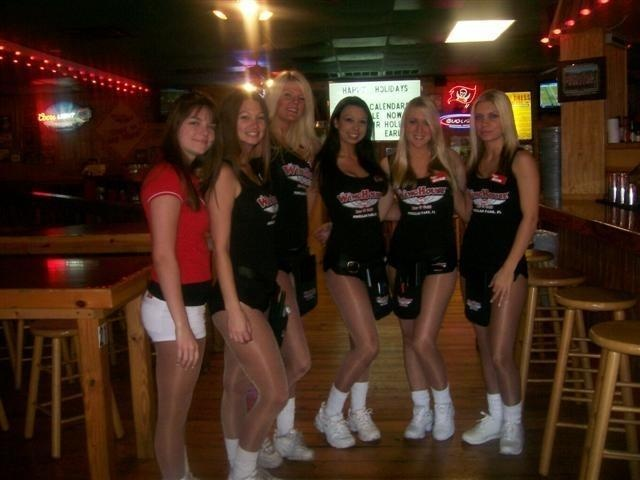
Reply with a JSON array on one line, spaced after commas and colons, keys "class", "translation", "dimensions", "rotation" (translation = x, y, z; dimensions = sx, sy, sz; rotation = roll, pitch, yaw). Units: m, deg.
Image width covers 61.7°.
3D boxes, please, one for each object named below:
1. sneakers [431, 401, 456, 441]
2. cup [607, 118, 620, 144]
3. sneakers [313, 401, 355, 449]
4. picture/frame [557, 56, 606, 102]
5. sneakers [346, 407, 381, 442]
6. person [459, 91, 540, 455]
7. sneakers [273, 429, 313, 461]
[{"class": "sneakers", "translation": [0.779, 1.139, 3.379], "dimensions": [0.102, 0.169, 0.281], "rotation": [-2, -3, 12]}, {"class": "cup", "translation": [2.887, -1.077, 5.277], "dimensions": [0.120, 0.251, 0.266], "rotation": [2, 11, 27]}, {"class": "sneakers", "translation": [0.064, 1.159, 3.415], "dimensions": [0.142, 0.144, 0.322], "rotation": [-5, 21, -45]}, {"class": "picture/frame", "translation": [2.608, -1.603, 5.359], "dimensions": [0.430, 0.402, 0.035], "rotation": [-3, 7, 11]}, {"class": "sneakers", "translation": [0.288, 1.174, 3.459], "dimensions": [0.128, 0.130, 0.288], "rotation": [-2, 1, -24]}, {"class": "person", "translation": [1.079, 0.182, 3.278], "dimensions": [0.362, 2.154, 0.525], "rotation": [-5, 10, -16]}, {"class": "sneakers", "translation": [-0.157, 1.233, 3.297], "dimensions": [0.262, 0.169, 0.146], "rotation": [9, -3, 2]}]
